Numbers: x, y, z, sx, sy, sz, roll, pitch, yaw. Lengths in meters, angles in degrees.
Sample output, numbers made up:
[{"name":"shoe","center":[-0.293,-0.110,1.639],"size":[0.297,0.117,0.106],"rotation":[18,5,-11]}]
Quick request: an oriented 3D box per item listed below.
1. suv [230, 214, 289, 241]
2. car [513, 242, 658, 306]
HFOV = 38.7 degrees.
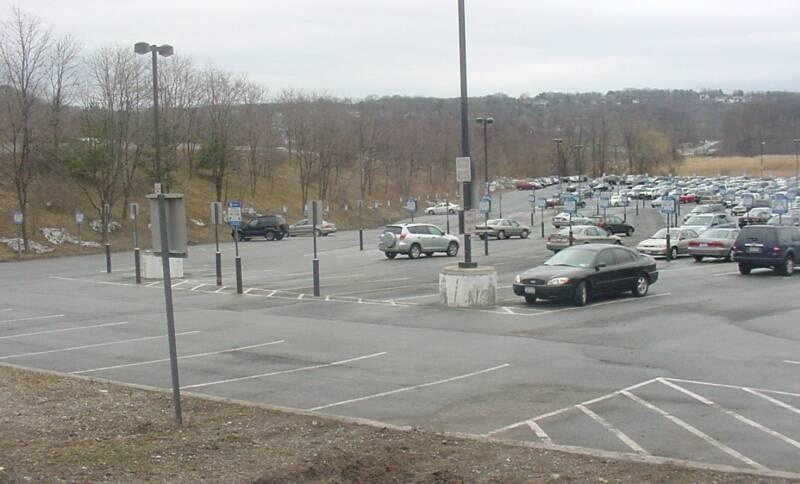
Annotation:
[{"name":"suv","center":[-13.438,-1.259,109.018],"size":[5.088,2.006,2.644],"rotation":[2,3,3]},{"name":"car","center":[11.709,2.087,71.704],"size":[8.546,3.699,1.858],"rotation":[-4,3,-20]}]
